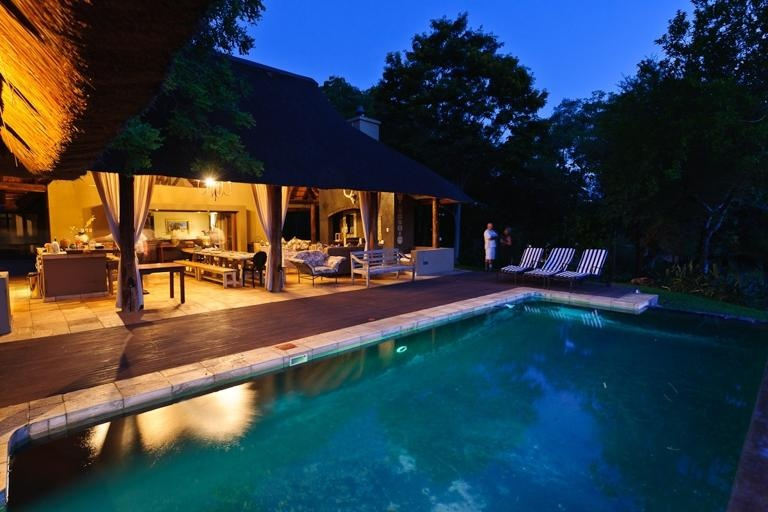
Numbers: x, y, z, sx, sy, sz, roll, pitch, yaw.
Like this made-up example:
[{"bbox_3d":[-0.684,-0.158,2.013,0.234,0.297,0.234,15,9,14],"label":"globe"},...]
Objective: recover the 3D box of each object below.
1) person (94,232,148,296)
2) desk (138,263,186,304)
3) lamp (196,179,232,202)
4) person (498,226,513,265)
[{"bbox_3d":[-7.388,0.238,12.793,0.987,1.090,1.782,-18,20,0],"label":"person"},{"bbox_3d":[-5.336,0.452,11.241,1.200,0.920,1.207,-1,0,-32],"label":"desk"},{"bbox_3d":[-6.541,-2.482,17.750,0.715,0.972,1.387,6,6,43],"label":"lamp"},{"bbox_3d":[6.223,-0.424,23.927,0.590,0.756,2.103,4,33,23],"label":"person"}]
